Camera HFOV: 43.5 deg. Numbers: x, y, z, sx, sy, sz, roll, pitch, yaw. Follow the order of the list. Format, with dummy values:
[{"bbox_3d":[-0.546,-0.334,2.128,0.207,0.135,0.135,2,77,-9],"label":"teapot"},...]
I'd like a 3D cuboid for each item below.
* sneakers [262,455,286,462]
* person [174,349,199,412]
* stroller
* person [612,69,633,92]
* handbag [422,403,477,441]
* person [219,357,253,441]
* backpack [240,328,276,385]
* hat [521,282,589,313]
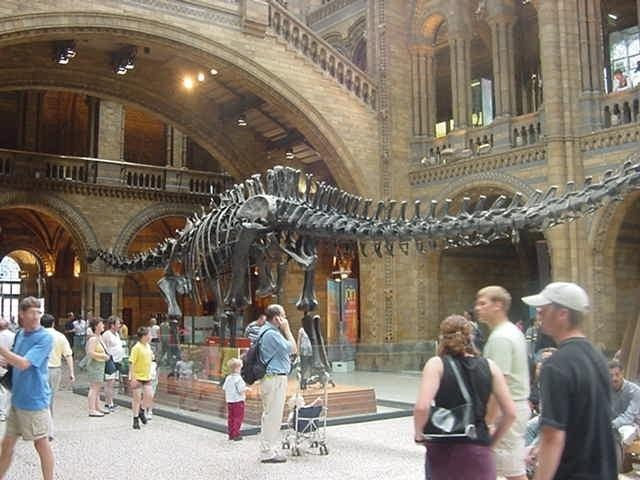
[{"bbox_3d":[-0.670,3.093,11.458,0.303,0.117,0.128,1,-5,-4],"label":"sneakers"},{"bbox_3d":[-2.486,2.581,14.809,0.326,0.929,0.815,-2,6,-12],"label":"person"},{"bbox_3d":[-0.188,2.679,12.518,0.771,1.249,1.265,4,-9,-17],"label":"stroller"},{"bbox_3d":[8.513,-4.516,22.440,0.508,0.678,1.702,1,6,20],"label":"person"},{"bbox_3d":[1.392,1.904,8.372,0.350,0.243,0.445,-1,0,-14],"label":"handbag"},{"bbox_3d":[-1.307,2.488,12.598,0.380,1.325,0.644,-2,6,-5],"label":"person"},{"bbox_3d":[-0.929,1.691,11.602,0.474,0.772,0.270,-1,6,7],"label":"backpack"},{"bbox_3d":[2.466,0.576,8.306,0.521,0.199,0.328,2,-3,23],"label":"hat"}]
